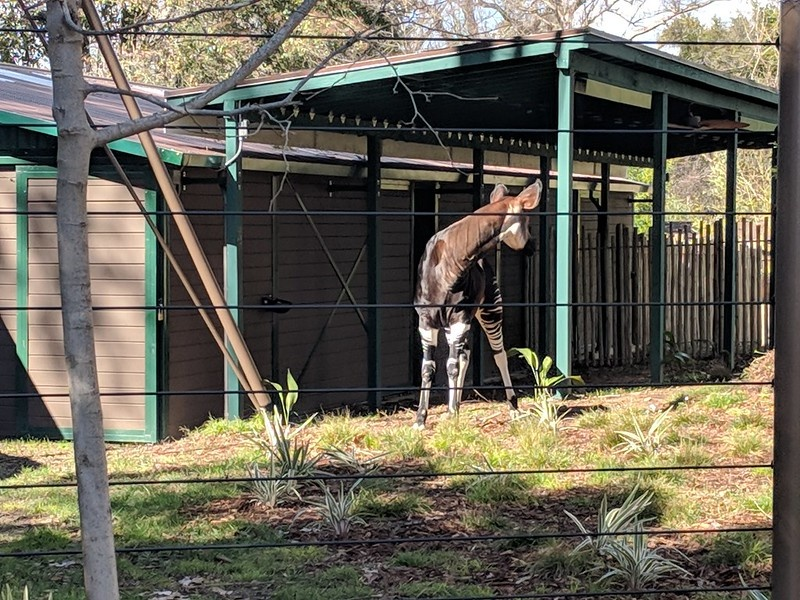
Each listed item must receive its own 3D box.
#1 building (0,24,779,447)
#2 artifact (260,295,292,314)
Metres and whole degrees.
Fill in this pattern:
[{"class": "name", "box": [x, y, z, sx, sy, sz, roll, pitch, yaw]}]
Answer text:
[{"class": "building", "box": [-0.262, -0.834, 16.572, 6.506, 2.173, 7.308, 1, 4, 33]}, {"class": "artifact", "box": [-1.293, 0.053, 15.173, 0.298, 0.141, 0.229, 2, 5, 21]}]
